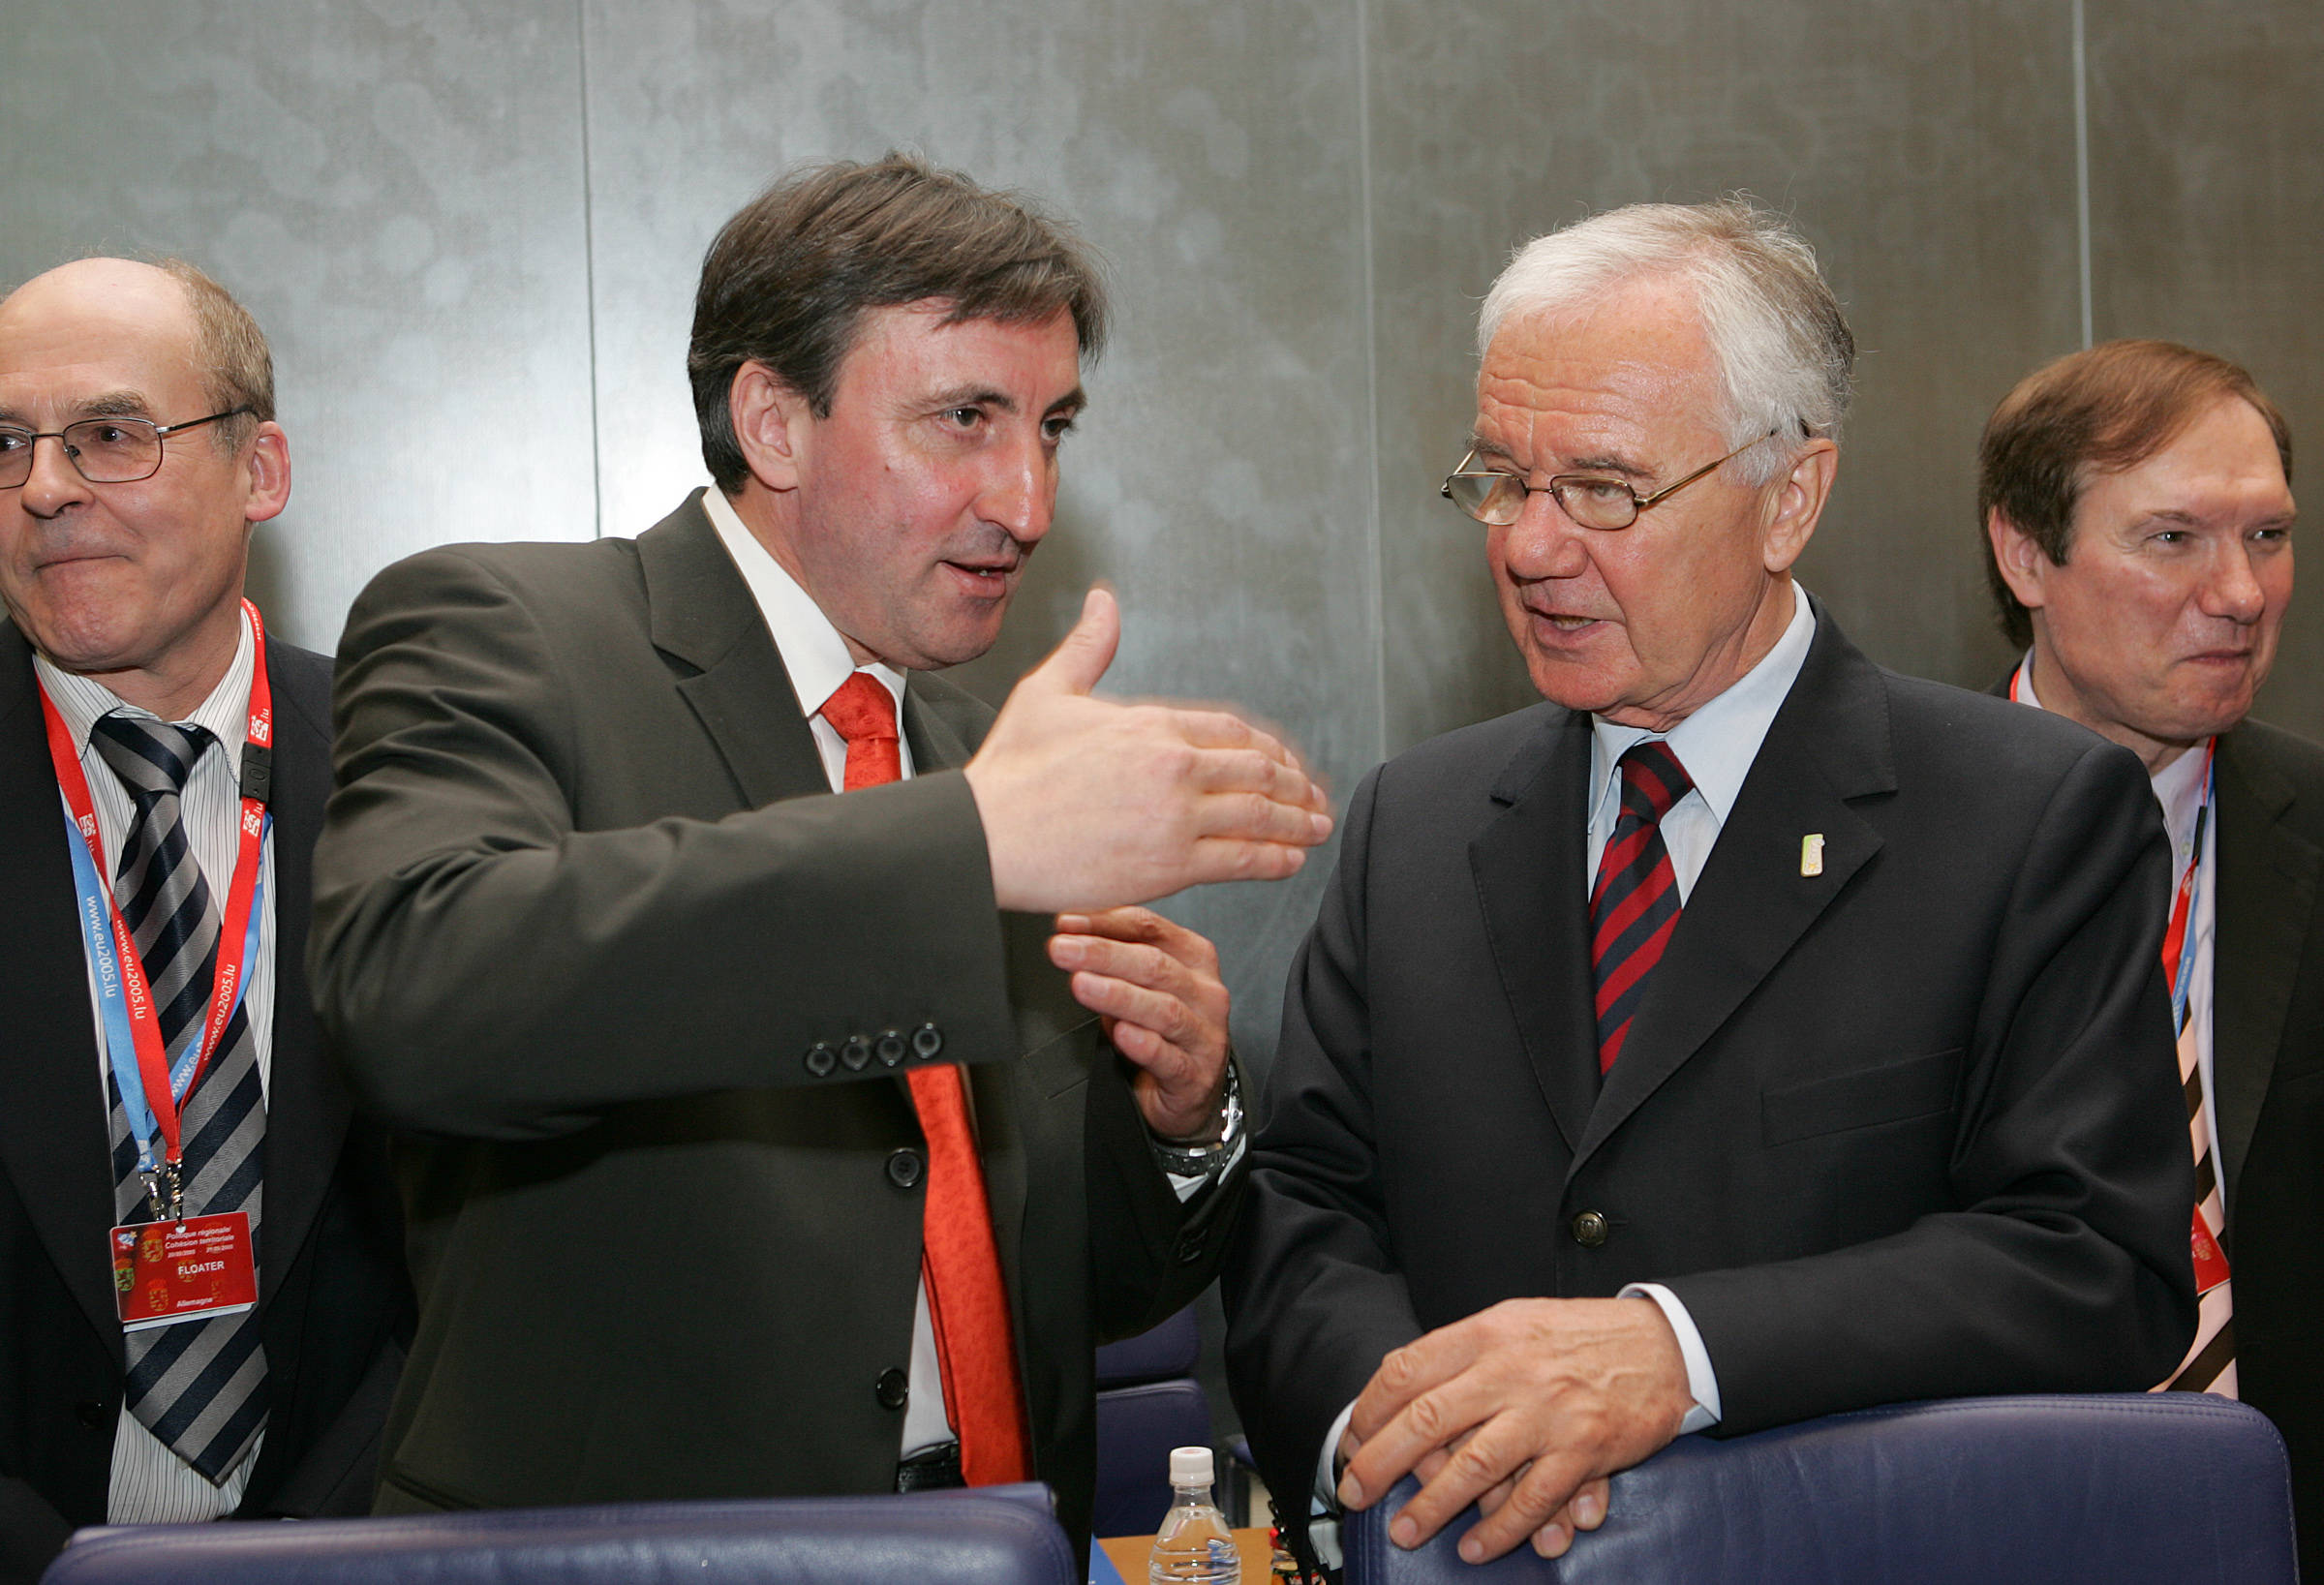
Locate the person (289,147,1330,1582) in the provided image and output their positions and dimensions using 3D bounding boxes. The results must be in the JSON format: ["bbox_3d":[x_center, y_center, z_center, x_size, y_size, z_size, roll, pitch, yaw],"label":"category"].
[{"bbox_3d":[-0.393,0.094,2.405,1.029,1.660,0.728,-5,5,-15],"label":"person"}]

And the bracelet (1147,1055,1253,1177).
[{"bbox_3d":[0.057,0.395,2.638,0.054,0.142,0.099,9,-10,-40],"label":"bracelet"}]
